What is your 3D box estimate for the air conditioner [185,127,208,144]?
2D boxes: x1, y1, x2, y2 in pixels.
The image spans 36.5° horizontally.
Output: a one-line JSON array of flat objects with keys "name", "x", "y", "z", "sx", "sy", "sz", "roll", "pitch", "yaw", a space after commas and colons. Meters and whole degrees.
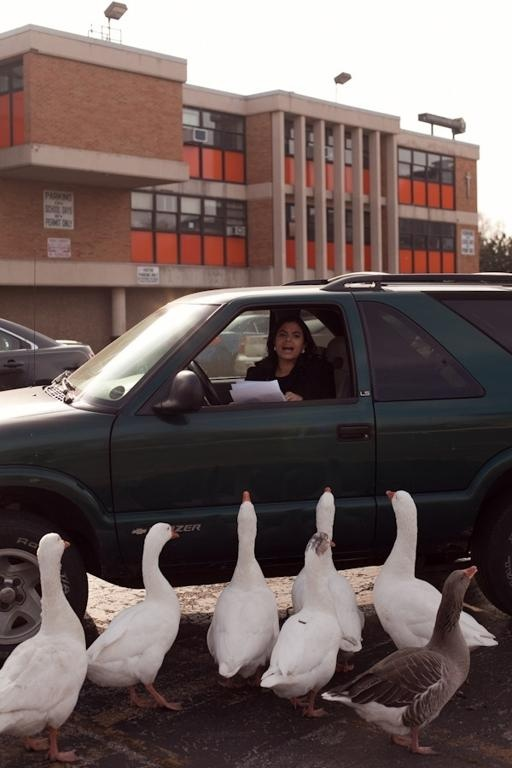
[{"name": "air conditioner", "x": -2.653, "y": -11.053, "z": 34.667, "sx": 0.861, "sy": 0.619, "sz": 0.877, "roll": 1, "pitch": 3, "yaw": 44}]

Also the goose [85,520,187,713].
[{"name": "goose", "x": -0.476, "y": 0.974, "z": 3.106, "sx": 0.253, "sy": 0.764, "sz": 0.484, "roll": -1, "pitch": 0, "yaw": 20}]

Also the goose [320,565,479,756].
[{"name": "goose", "x": 0.539, "y": 0.984, "z": 2.706, "sx": 0.401, "sy": 0.546, "sz": 0.562, "roll": -1, "pitch": 0, "yaw": 30}]

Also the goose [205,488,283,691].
[{"name": "goose", "x": -0.065, "y": 0.898, "z": 3.231, "sx": 0.270, "sy": 0.651, "sz": 0.737, "roll": 0, "pitch": 11, "yaw": 9}]

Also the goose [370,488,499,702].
[{"name": "goose", "x": 0.762, "y": 0.900, "z": 3.360, "sx": 0.633, "sy": 0.758, "sz": 0.326, "roll": 17, "pitch": 11, "yaw": 3}]

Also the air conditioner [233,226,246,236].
[{"name": "air conditioner", "x": -0.756, "y": -7.335, "z": 37.366, "sx": 0.526, "sy": 0.482, "sz": 0.514, "roll": -1, "pitch": 6, "yaw": -28}]
